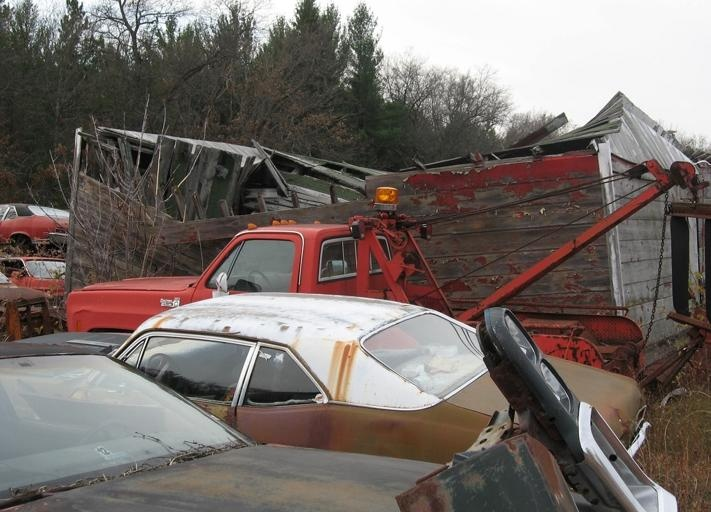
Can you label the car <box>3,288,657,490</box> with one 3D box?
[{"bbox_3d":[-0.019,0.733,3.298,3.291,0.816,1.542,1,3,25],"label":"car"}]
